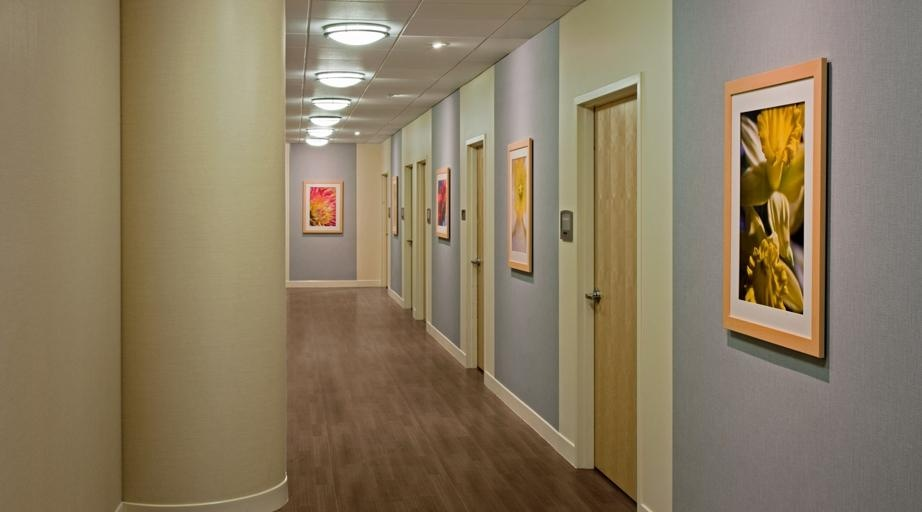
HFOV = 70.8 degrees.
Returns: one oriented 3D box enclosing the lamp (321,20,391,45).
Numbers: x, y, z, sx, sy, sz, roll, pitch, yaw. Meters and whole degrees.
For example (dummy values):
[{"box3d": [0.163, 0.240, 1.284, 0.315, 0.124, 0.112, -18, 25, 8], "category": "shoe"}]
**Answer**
[{"box3d": [-1.078, -2.260, 6.634, 0.697, 0.143, 0.485, -1, 6, -5], "category": "lamp"}]
